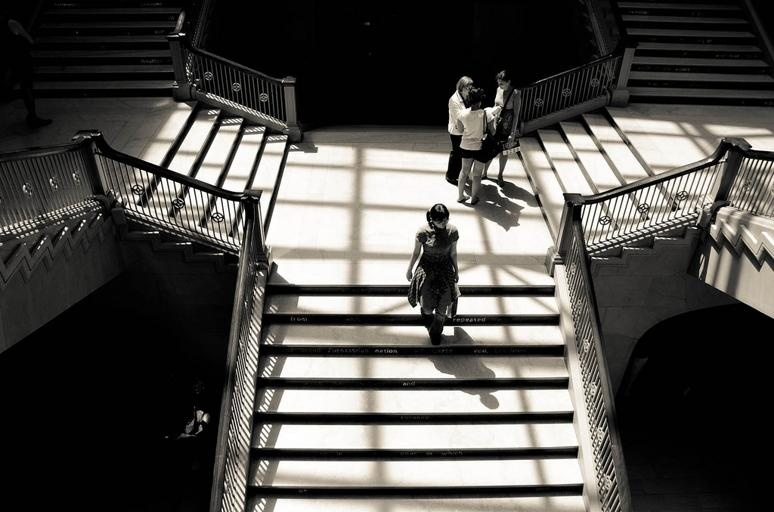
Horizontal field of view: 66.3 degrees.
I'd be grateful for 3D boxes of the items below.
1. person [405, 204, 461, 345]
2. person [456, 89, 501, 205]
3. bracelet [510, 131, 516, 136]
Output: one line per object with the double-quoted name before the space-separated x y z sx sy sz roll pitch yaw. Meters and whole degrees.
"person" 0.762 0.293 9.289 0.752 2.353 0.731 29 50 28
"person" 1.619 -2.039 11.010 0.653 2.383 0.488 -2 42 -2
"bracelet" 2.420 -2.351 11.349 0.097 0.031 0.070 -27 11 40
